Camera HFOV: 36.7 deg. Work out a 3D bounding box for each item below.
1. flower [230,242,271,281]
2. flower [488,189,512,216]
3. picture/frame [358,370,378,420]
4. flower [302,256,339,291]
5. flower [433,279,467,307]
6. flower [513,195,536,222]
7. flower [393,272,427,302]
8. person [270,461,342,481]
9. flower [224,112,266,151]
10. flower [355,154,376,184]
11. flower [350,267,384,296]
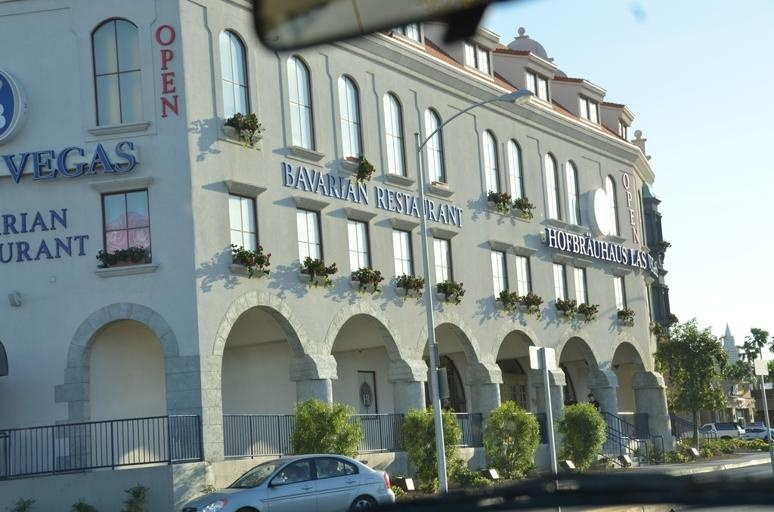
[{"bbox_3d":[-4.570,0.179,39.550,1.058,0.890,1.250,-6,-14,39],"label":"flower"},{"bbox_3d":[4.723,-2.250,48.235,0.965,0.885,0.821,11,-26,-32],"label":"flower"},{"bbox_3d":[-0.712,5.465,45.639,0.152,2.658,1.436,-10,-11,32],"label":"picture/frame"},{"bbox_3d":[-2.312,0.456,41.424,1.085,1.040,0.776,10,30,1],"label":"flower"},{"bbox_3d":[2.544,1.421,45.441,1.044,0.748,0.909,5,3,-33],"label":"flower"},{"bbox_3d":[5.831,-2.031,49.353,0.841,0.853,1.158,-4,-16,38],"label":"flower"},{"bbox_3d":[0.906,1.153,44.037,0.900,0.733,1.020,-10,-14,44],"label":"flower"},{"bbox_3d":[-2.103,6.155,33.525,1.191,0.410,0.753,-8,10,-39],"label":"person"},{"bbox_3d":[-4.784,-4.330,40.023,1.351,1.092,0.469,12,-1,-27],"label":"flower"},{"bbox_3d":[-0.798,-3.243,43.312,0.597,0.873,0.832,7,11,-11],"label":"flower"},{"bbox_3d":[-0.661,0.894,42.667,1.045,0.750,0.902,14,-26,-32],"label":"flower"}]
